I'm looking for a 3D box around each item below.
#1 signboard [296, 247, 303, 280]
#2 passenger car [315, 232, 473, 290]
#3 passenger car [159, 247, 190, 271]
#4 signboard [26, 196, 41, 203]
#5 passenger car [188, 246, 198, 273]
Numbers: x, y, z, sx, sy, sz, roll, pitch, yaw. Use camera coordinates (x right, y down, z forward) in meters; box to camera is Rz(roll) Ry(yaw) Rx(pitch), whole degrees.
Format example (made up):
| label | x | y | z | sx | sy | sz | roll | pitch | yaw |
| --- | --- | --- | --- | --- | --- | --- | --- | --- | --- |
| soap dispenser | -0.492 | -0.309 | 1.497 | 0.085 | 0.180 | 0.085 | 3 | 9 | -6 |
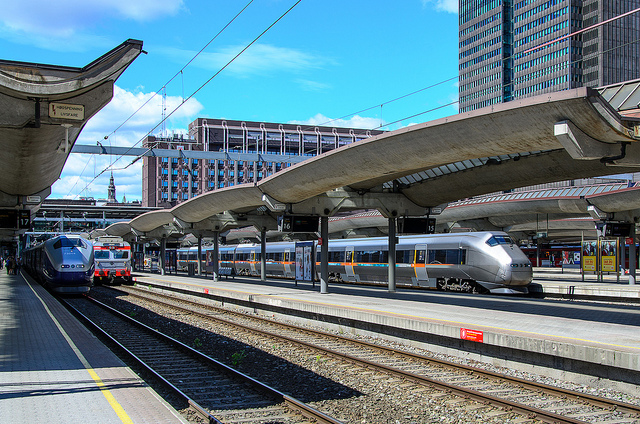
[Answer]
| label | x | y | z | sx | sy | sz | roll | pitch | yaw |
| --- | --- | --- | --- | --- | --- | --- | --- | --- | --- |
| signboard | -1.265 | 3.105 | 28.470 | 0.240 | 1.965 | 0.795 | 2 | -8 | -25 |
| passenger car | 5.295 | 3.495 | 32.672 | 2.738 | 2.940 | 16.897 | 3 | -7 | -36 |
| passenger car | -19.461 | 6.373 | 62.961 | 3.983 | 3.582 | 14.457 | 2 | -7 | -24 |
| signboard | -16.807 | -0.775 | 27.331 | 0.755 | 0.366 | 0.540 | 0 | -7 | -13 |
| passenger car | -16.888 | 6.101 | 62.080 | 1.085 | 3.331 | 4.090 | 1 | -7 | -18 |
